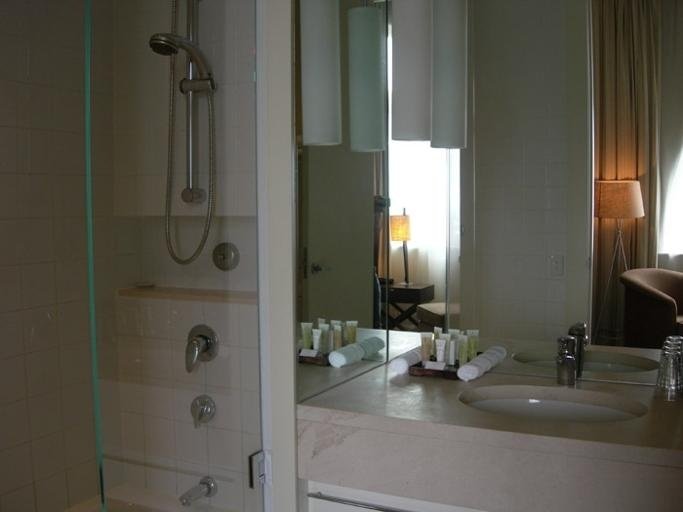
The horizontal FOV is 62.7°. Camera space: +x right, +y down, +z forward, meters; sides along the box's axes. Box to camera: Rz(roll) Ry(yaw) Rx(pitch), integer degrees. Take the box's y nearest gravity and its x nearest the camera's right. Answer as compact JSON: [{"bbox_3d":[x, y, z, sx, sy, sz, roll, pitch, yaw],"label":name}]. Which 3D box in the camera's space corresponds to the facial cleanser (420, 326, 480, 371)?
[{"bbox_3d":[0.432,0.342,2.246,0.179,0.166,0.127,8,8,37],"label":"facial cleanser"}]

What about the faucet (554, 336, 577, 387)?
[{"bbox_3d":[0.836,0.384,2.090,0.067,0.171,0.111,0,3,22],"label":"faucet"}]
